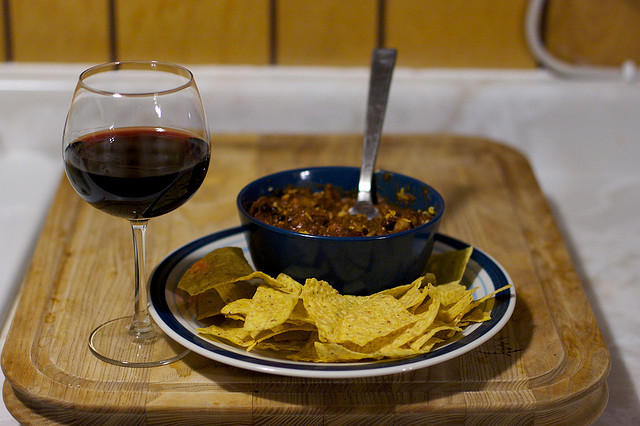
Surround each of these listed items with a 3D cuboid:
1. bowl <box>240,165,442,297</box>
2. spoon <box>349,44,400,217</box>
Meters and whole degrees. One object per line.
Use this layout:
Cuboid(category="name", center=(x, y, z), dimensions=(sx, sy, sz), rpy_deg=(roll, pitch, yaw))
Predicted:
Cuboid(category="bowl", center=(0.037, 0.017, 1.111), dimensions=(0.376, 0.140, 0.297), rpy_deg=(0, 38, -9))
Cuboid(category="spoon", center=(0.098, -0.157, 1.157), dimensions=(0.078, 0.387, 0.055), rpy_deg=(10, 24, 8))
